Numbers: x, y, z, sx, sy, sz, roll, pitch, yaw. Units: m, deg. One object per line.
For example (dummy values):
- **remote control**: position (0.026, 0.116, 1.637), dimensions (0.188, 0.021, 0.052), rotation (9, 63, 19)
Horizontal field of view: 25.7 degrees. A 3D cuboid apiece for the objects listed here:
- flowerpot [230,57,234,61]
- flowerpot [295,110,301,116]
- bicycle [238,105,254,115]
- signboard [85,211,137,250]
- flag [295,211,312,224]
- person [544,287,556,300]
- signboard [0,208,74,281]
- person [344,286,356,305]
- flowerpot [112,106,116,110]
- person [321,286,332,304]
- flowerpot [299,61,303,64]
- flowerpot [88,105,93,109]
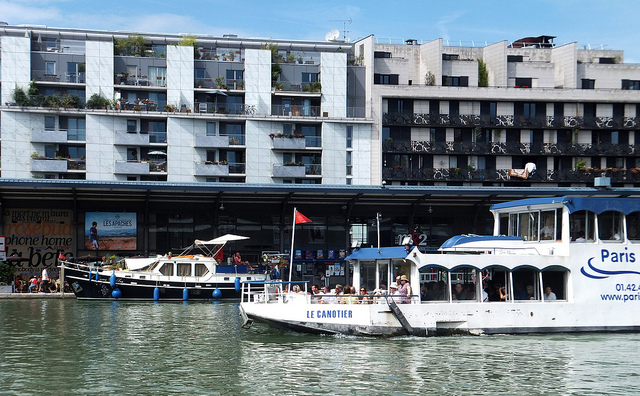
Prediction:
- **flowerpot**: position (-9.899, -15.360, 157.349), dimensions (0.485, 0.379, 0.466), rotation (0, -2, -10)
- **flowerpot**: position (-2.497, -9.392, 157.067), dimensions (0.630, 0.714, 0.877), rotation (-1, -2, 0)
- **bicycle**: position (-8.251, -9.597, 155.879), dimensions (1.762, 0.961, 0.526), rotation (-1, -2, 1)
- **signboard**: position (-20.467, 3.230, 136.772), dimensions (5.967, 3.853, 0.064), rotation (1, -2, -38)
- **flag**: position (-1.549, 1.717, 126.672), dimensions (1.498, 1.490, 0.151), rotation (0, -8, -20)
- **person**: position (18.660, 7.700, 113.970), dimensions (0.980, 0.839, 0.549), rotation (-9, -17, 22)
- **signboard**: position (-27.636, 4.374, 135.473), dimensions (7.899, 6.876, 0.161), rotation (-1, 8, -9)
- **person**: position (2.436, 7.837, 113.857), dimensions (0.903, 1.295, 1.340), rotation (-1, -2, 0)
- **flowerpot**: position (-22.535, -9.710, 153.316), dimensions (0.339, 0.377, 0.352), rotation (0, -2, -8)
- **person**: position (0.512, 7.985, 115.329), dimensions (0.773, 1.498, 0.718), rotation (7, -39, 6)
- **flowerpot**: position (-2.174, -15.192, 159.402), dimensions (0.355, 0.371, 0.663), rotation (-1, -2, -1)
- **flowerpot**: position (-25.057, -9.742, 152.846), dimensions (0.472, 0.337, 0.137), rotation (0, -2, -9)
